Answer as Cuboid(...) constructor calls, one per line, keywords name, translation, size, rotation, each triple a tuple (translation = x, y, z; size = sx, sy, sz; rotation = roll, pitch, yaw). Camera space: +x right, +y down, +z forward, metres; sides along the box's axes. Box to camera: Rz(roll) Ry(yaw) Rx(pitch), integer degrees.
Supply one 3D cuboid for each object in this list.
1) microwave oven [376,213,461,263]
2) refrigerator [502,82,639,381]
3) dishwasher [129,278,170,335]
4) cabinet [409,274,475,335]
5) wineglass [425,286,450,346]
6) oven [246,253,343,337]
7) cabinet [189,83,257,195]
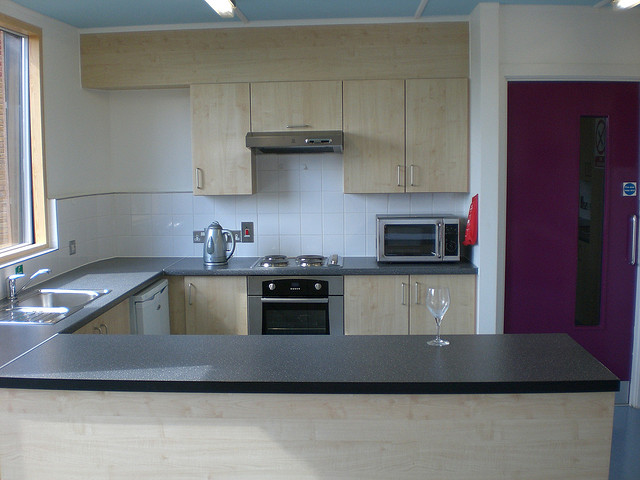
Cuboid(name="microwave oven", translation=(0.818, 0.012, 4.440), size=(0.638, 0.370, 0.400), rotation=(0, 3, 20))
Cuboid(name="refrigerator", translation=(1.849, -0.050, 4.108), size=(0.962, 2.201, 0.320), rotation=(0, 12, 5))
Cuboid(name="dishwasher", translation=(-1.208, 0.470, 3.859), size=(0.151, 0.385, 0.402), rotation=(0, 6, 6))
Cuboid(name="cabinet", translation=(0.942, 0.486, 4.341), size=(0.558, 0.448, 0.324), rotation=(3, 9, 5))
Cuboid(name="wineglass", translation=(0.567, 0.338, 2.656), size=(0.105, 0.295, 0.363), rotation=(1, 12, 11))
Cuboid(name="oven", translation=(-0.223, 0.612, 4.547), size=(0.739, 0.953, 0.612), rotation=(1, 10, 0))
Cuboid(name="cabinet", translation=(-0.779, -0.805, 4.392), size=(0.584, 0.804, 0.359), rotation=(1, 12, 0))
